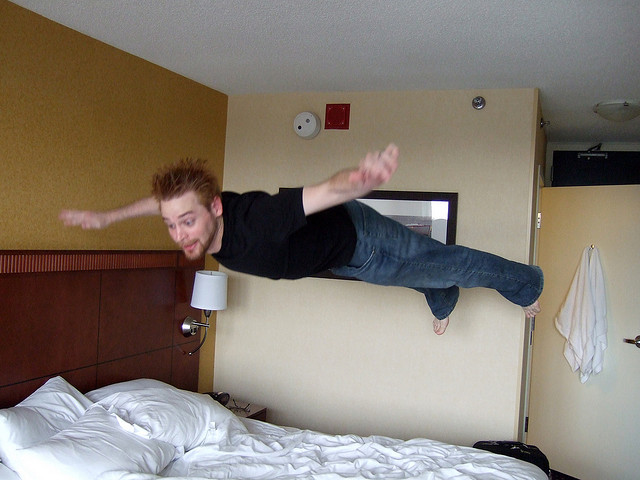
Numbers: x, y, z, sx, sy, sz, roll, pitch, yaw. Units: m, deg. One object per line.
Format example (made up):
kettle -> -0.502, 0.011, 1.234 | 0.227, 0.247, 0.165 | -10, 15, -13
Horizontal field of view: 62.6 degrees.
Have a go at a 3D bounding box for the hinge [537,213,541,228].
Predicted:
hinge -> 2.069, -0.189, 4.959 | 0.020, 0.215, 0.112 | 3, 12, 26

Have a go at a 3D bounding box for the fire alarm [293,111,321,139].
fire alarm -> -0.110, -1.010, 4.588 | 0.226, 0.187, 0.112 | 2, -1, 19

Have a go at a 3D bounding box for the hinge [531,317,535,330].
hinge -> 2.069, 0.813, 5.092 | 0.017, 0.112, 0.076 | 2, -1, 35

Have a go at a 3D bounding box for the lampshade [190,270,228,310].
lampshade -> -0.875, 0.468, 4.361 | 0.266, 0.280, 0.274 | 7, -3, 35
